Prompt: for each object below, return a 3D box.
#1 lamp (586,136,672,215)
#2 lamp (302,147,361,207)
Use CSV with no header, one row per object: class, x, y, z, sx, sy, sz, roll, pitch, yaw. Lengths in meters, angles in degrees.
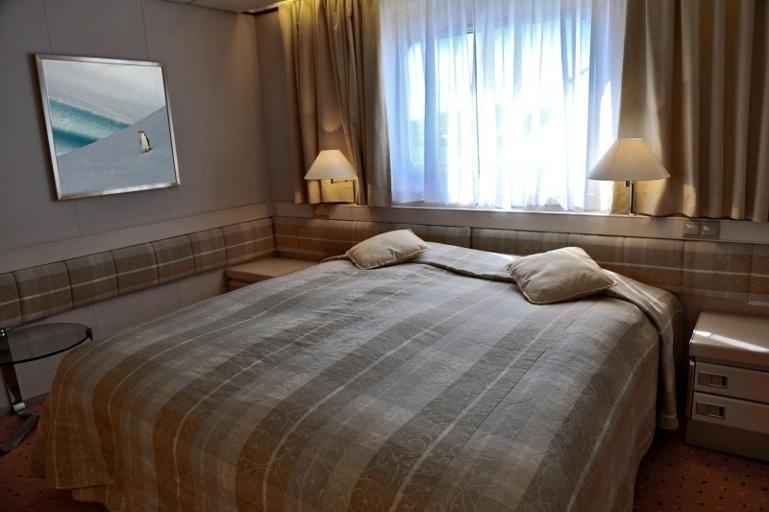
lamp,1.756,-0.550,3.649,0.529,0.586,0.509,-2,14,20
lamp,-0.524,-0.748,4.790,0.475,0.508,0.494,9,21,32
